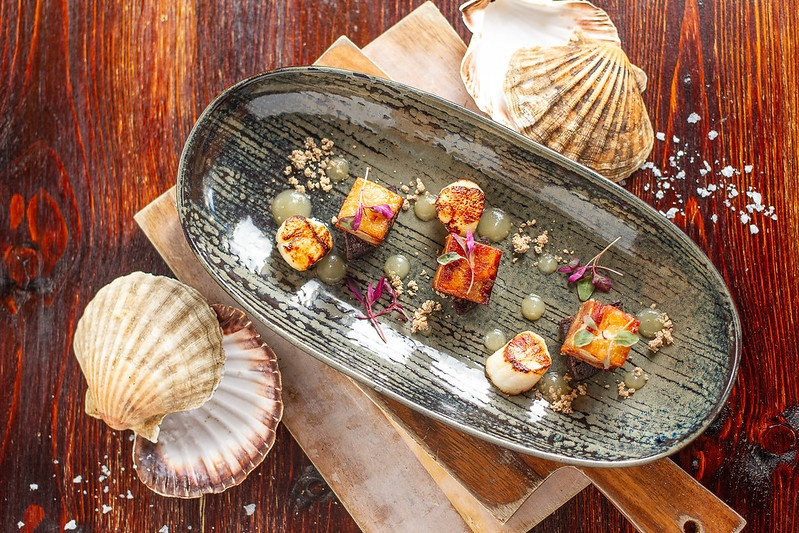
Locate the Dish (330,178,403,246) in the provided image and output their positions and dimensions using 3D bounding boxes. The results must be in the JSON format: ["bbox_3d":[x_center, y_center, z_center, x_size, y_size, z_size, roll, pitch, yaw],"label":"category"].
[{"bbox_3d":[-0.163,-0.292,4.954,0.275,0.092,0.351,21,85,0],"label":"Dish"}]

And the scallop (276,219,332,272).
[{"bbox_3d":[-0.485,-0.135,5.028,0.262,0.100,0.246,-36,81,0],"label":"scallop"}]

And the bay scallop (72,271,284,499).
[{"bbox_3d":[-1.118,0.513,5.347,1.033,1.087,1.288,-14,43,-16],"label":"bay scallop"}]

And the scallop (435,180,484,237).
[{"bbox_3d":[0.297,-0.294,5.038,0.225,0.076,0.246,18,85,8],"label":"scallop"}]

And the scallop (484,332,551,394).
[{"bbox_3d":[0.599,0.499,5.031,0.356,0.153,0.256,-30,80,1],"label":"scallop"}]
